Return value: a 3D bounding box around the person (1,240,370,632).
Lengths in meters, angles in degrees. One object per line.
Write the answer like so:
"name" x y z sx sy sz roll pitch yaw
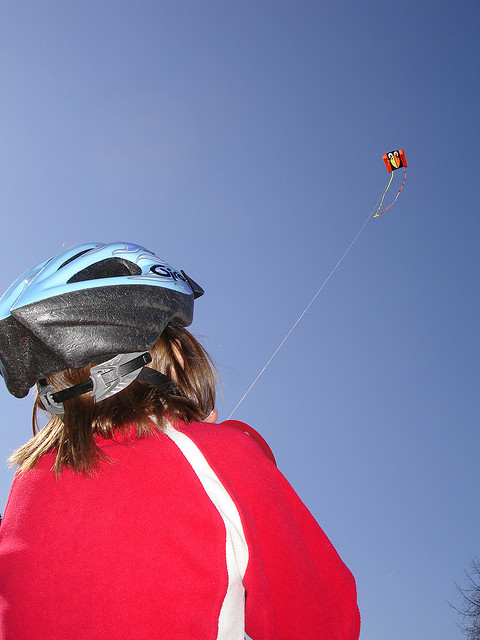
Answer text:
"person" -0.162 0.229 1.507 0.735 0.812 0.331 12 -28 -18

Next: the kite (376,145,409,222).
"kite" 0.777 -0.680 3.631 0.115 0.343 0.148 28 -21 -29
